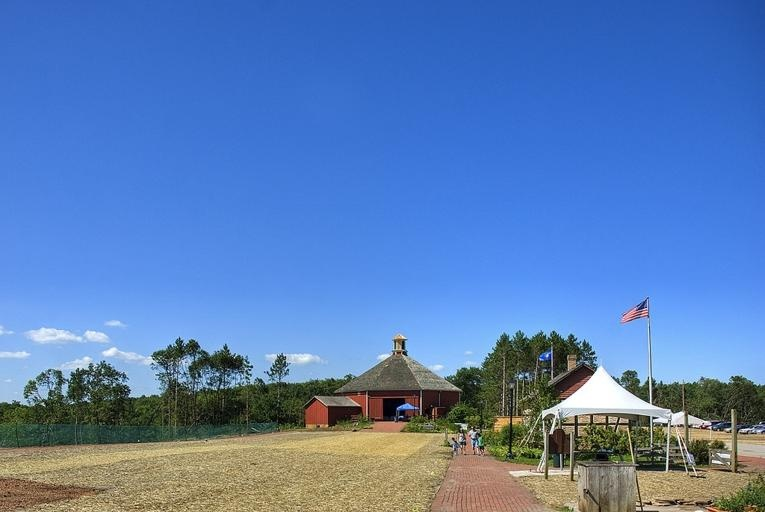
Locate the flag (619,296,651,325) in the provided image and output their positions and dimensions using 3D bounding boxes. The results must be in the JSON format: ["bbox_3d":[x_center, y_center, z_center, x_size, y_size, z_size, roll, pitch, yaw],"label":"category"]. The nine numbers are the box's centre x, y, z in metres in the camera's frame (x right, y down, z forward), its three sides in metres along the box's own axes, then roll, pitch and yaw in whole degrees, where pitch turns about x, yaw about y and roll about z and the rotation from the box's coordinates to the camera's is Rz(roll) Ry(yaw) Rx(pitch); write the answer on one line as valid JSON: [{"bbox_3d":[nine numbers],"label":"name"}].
[{"bbox_3d":[18.166,3.898,47.602,1.455,1.638,3.642,-6,-20,16],"label":"flag"}]
